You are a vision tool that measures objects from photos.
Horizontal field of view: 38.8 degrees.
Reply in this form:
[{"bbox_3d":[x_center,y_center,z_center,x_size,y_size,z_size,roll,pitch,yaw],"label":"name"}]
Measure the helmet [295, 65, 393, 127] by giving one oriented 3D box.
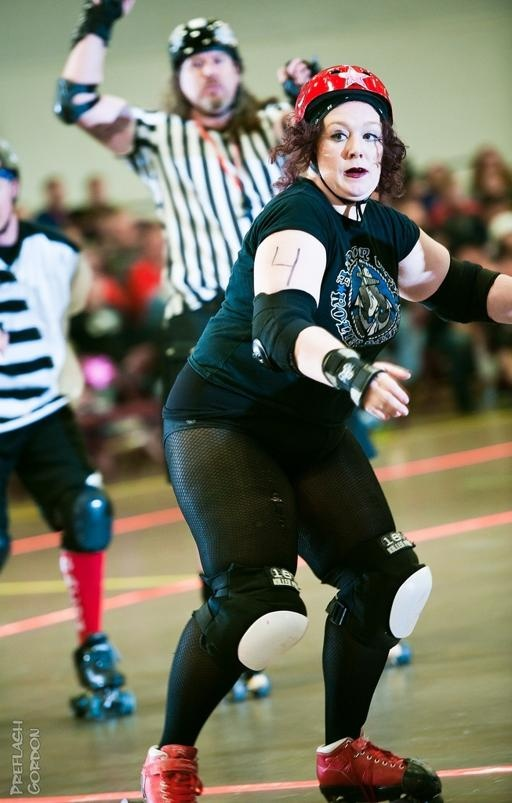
[{"bbox_3d":[0.156,-0.528,1.274,0.143,0.098,0.188,4,6,-3],"label":"helmet"}]
